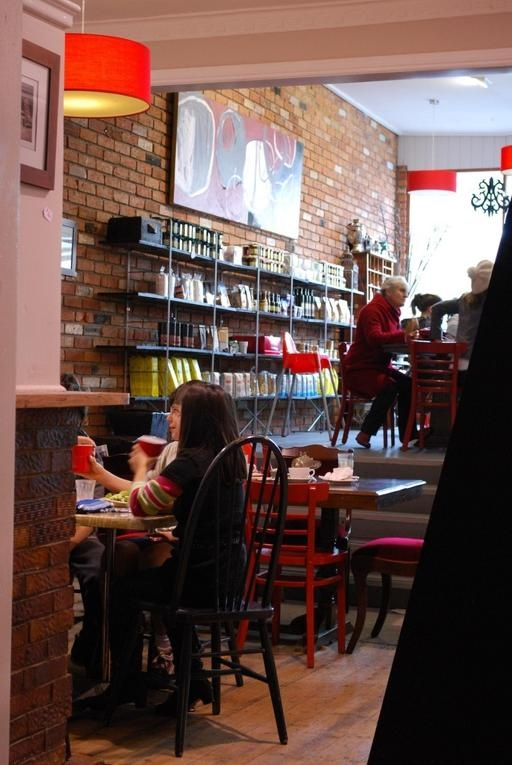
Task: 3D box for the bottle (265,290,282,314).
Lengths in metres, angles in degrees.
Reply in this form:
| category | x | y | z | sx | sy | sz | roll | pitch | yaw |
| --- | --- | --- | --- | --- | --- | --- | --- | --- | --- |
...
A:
| category | x | y | z | sx | sy | sz | roll | pitch | yaw |
| --- | --- | --- | --- | --- | --- | --- | --- | --- | --- |
| bottle | 0.206 | -0.979 | 7.452 | 0.175 | 0.303 | 0.299 | -5 | -11 | 23 |

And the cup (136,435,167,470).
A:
| category | x | y | z | sx | sy | sz | roll | pitch | yaw |
| --- | --- | --- | --- | --- | --- | --- | --- | --- | --- |
| cup | -0.458 | 0.311 | 2.659 | 0.115 | 0.095 | 0.116 | 4 | 9 | -1 |

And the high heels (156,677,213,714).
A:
| category | x | y | z | sx | sy | sz | roll | pitch | yaw |
| --- | --- | --- | --- | --- | --- | --- | --- | --- | --- |
| high heels | -0.283 | 1.326 | 2.596 | 0.279 | 0.148 | 0.099 | 5 | -9 | -33 |

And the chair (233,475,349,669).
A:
| category | x | y | z | sx | sy | sz | roll | pitch | yaw |
| --- | --- | --- | --- | --- | --- | --- | --- | --- | --- |
| chair | 0.219 | 1.017 | 3.331 | 0.477 | 0.943 | 0.506 | -2 | -7 | 29 |

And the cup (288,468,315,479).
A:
| category | x | y | z | sx | sy | sz | roll | pitch | yaw |
| --- | --- | --- | --- | --- | --- | --- | --- | --- | --- |
| cup | 0.263 | 0.496 | 3.266 | 0.114 | 0.063 | 0.211 | -2 | -6 | 40 |

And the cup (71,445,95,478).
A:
| category | x | y | z | sx | sy | sz | roll | pitch | yaw |
| --- | --- | --- | --- | --- | --- | --- | --- | --- | --- |
| cup | -0.623 | 0.289 | 2.178 | 0.065 | 0.100 | 0.108 | 1 | -6 | -2 |

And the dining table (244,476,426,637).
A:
| category | x | y | z | sx | sy | sz | roll | pitch | yaw |
| --- | --- | --- | --- | --- | --- | --- | --- | --- | --- |
| dining table | 0.427 | 1.054 | 3.374 | 0.779 | 0.822 | 0.845 | 4 | -20 | 32 |

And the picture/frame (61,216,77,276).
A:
| category | x | y | z | sx | sy | sz | roll | pitch | yaw |
| --- | --- | --- | --- | --- | --- | --- | --- | --- | --- |
| picture/frame | -1.582 | -1.134 | 5.089 | 0.058 | 0.473 | 0.224 | 0 | -4 | 18 |

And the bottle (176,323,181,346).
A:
| category | x | y | z | sx | sy | sz | roll | pitch | yaw |
| --- | --- | --- | --- | --- | --- | --- | --- | --- | --- |
| bottle | -0.743 | -0.459 | 5.774 | 0.019 | 0.211 | 0.068 | -1 | -5 | 27 |

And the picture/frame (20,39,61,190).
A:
| category | x | y | z | sx | sy | sz | roll | pitch | yaw |
| --- | --- | --- | --- | --- | --- | --- | --- | --- | --- |
| picture/frame | -0.658 | -0.805 | 1.817 | 0.046 | 0.427 | 0.162 | 0 | -5 | 21 |

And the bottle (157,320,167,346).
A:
| category | x | y | z | sx | sy | sz | roll | pitch | yaw |
| --- | --- | --- | --- | --- | --- | --- | --- | --- | --- |
| bottle | -0.877 | -0.459 | 5.664 | 0.060 | 0.239 | 0.215 | 4 | -5 | -32 |

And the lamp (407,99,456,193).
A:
| category | x | y | z | sx | sy | sz | roll | pitch | yaw |
| --- | --- | --- | --- | --- | --- | --- | --- | --- | --- |
| lamp | 2.488 | -3.513 | 8.775 | 0.625 | 1.236 | 0.649 | 10 | 17 | 11 |

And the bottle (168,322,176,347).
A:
| category | x | y | z | sx | sy | sz | roll | pitch | yaw |
| --- | --- | --- | --- | --- | --- | --- | --- | --- | --- |
| bottle | -0.792 | -0.462 | 5.715 | 0.065 | 0.248 | 0.140 | 2 | -4 | -2 |

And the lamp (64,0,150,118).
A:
| category | x | y | z | sx | sy | sz | roll | pitch | yaw |
| --- | --- | --- | --- | --- | --- | --- | --- | --- | --- |
| lamp | -0.822 | -1.643 | 3.342 | 0.461 | 0.363 | 0.534 | 3 | -5 | -19 |

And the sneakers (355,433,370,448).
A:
| category | x | y | z | sx | sy | sz | roll | pitch | yaw |
| --- | --- | --- | --- | --- | --- | --- | --- | --- | --- |
| sneakers | 1.012 | 0.548 | 5.676 | 0.107 | 0.152 | 0.164 | 0 | -5 | 22 |

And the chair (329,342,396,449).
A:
| category | x | y | z | sx | sy | sz | roll | pitch | yaw |
| --- | --- | --- | --- | --- | --- | --- | --- | --- | --- |
| chair | 1.089 | 0.146 | 6.153 | 0.513 | 0.900 | 0.513 | -4 | -8 | 23 |

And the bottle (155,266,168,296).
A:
| category | x | y | z | sx | sy | sz | roll | pitch | yaw |
| --- | --- | --- | --- | --- | --- | --- | --- | --- | --- |
| bottle | -0.885 | -0.912 | 5.644 | 0.117 | 0.249 | 0.095 | -2 | -6 | 42 |
